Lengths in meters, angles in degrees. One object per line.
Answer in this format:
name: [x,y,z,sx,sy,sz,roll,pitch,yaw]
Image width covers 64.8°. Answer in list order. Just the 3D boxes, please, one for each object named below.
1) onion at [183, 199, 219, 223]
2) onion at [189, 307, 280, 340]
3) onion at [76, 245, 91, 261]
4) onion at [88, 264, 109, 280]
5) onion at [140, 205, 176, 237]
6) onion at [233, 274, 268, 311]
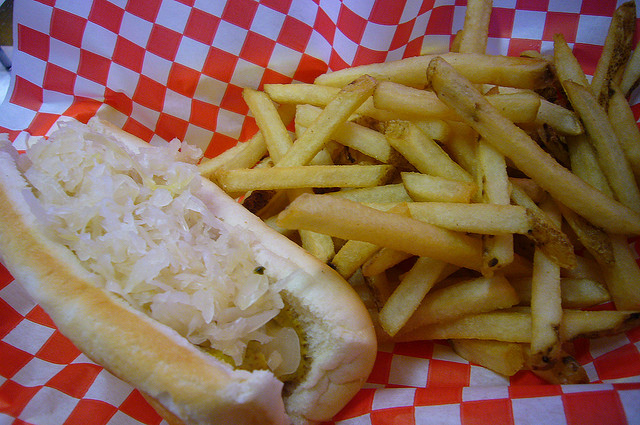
onion: [-0.511,-0.018,2.210,0.179,0.054,0.051,35,96,-7]
onion: [-0.323,0.453,2.029,0.329,0.070,0.085,-6,53,-3]
onion: [-0.958,0.160,2.068,0.063,0.051,0.044,-22,56,-13]
onion: [-0.890,0.231,2.064,0.098,0.054,0.027,25,59,19]
onion: [-0.661,0.036,2.095,0.096,0.036,0.151,-43,86,-14]
onion: [-0.278,0.330,2.090,0.100,0.030,0.152,31,72,20]
